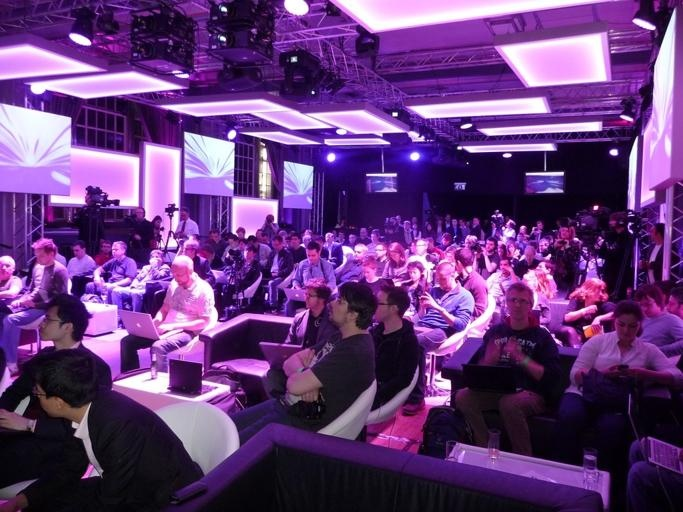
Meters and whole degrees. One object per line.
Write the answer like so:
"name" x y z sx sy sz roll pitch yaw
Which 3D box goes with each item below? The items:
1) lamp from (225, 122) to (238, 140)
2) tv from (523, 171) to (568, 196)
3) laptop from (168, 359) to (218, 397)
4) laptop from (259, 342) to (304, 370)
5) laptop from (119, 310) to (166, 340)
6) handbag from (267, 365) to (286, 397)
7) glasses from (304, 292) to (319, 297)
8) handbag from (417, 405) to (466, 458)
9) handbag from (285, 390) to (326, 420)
"lamp" -2.653 -2.897 13.125 0.261 0.480 0.442 4 31 -12
"tv" 6.817 -2.478 18.583 1.255 0.757 0.332 0 3 15
"laptop" -1.341 1.052 4.886 0.329 0.304 0.283 5 10 15
"laptop" -0.607 0.904 5.038 0.310 0.225 0.216 -2 5 30
"laptop" -2.258 0.772 6.242 0.476 0.327 0.349 8 19 25
"handbag" -0.549 1.039 4.527 0.160 0.230 0.215 -2 20 -15
"glasses" -0.302 0.390 5.434 0.093 0.031 0.098 -4 -11 39
"handbag" 0.862 1.558 4.815 0.320 0.477 0.436 -1 -13 9
"handbag" -0.262 1.083 3.956 0.166 0.153 0.217 11 -14 -37
